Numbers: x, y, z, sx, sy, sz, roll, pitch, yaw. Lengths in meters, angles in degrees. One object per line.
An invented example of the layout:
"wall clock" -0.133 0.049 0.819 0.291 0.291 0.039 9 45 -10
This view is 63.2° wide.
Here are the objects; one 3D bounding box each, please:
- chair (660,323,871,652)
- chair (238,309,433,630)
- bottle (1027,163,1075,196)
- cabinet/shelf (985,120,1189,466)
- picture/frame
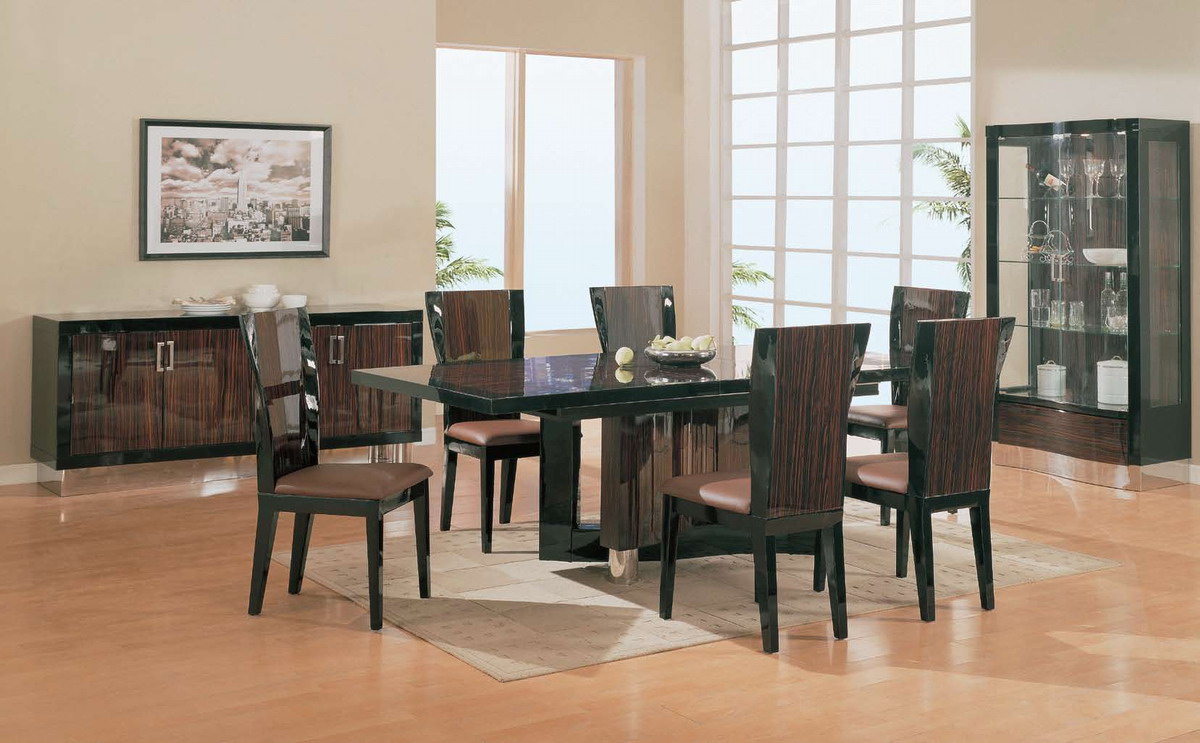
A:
"chair" 0.797 0.466 4.161 0.907 1.345 0.570 2 13 8
"chair" -1.208 0.402 4.401 0.780 1.352 0.558 3 13 16
"bottle" 3.381 -1.305 6.601 0.280 0.148 0.156 12 2 -3
"cabinet/shelf" 3.592 -0.558 6.528 0.731 2.182 1.422 -12 17 -42
"picture/frame" -2.709 -1.299 6.851 1.261 0.781 0.052 -2 4 -29
